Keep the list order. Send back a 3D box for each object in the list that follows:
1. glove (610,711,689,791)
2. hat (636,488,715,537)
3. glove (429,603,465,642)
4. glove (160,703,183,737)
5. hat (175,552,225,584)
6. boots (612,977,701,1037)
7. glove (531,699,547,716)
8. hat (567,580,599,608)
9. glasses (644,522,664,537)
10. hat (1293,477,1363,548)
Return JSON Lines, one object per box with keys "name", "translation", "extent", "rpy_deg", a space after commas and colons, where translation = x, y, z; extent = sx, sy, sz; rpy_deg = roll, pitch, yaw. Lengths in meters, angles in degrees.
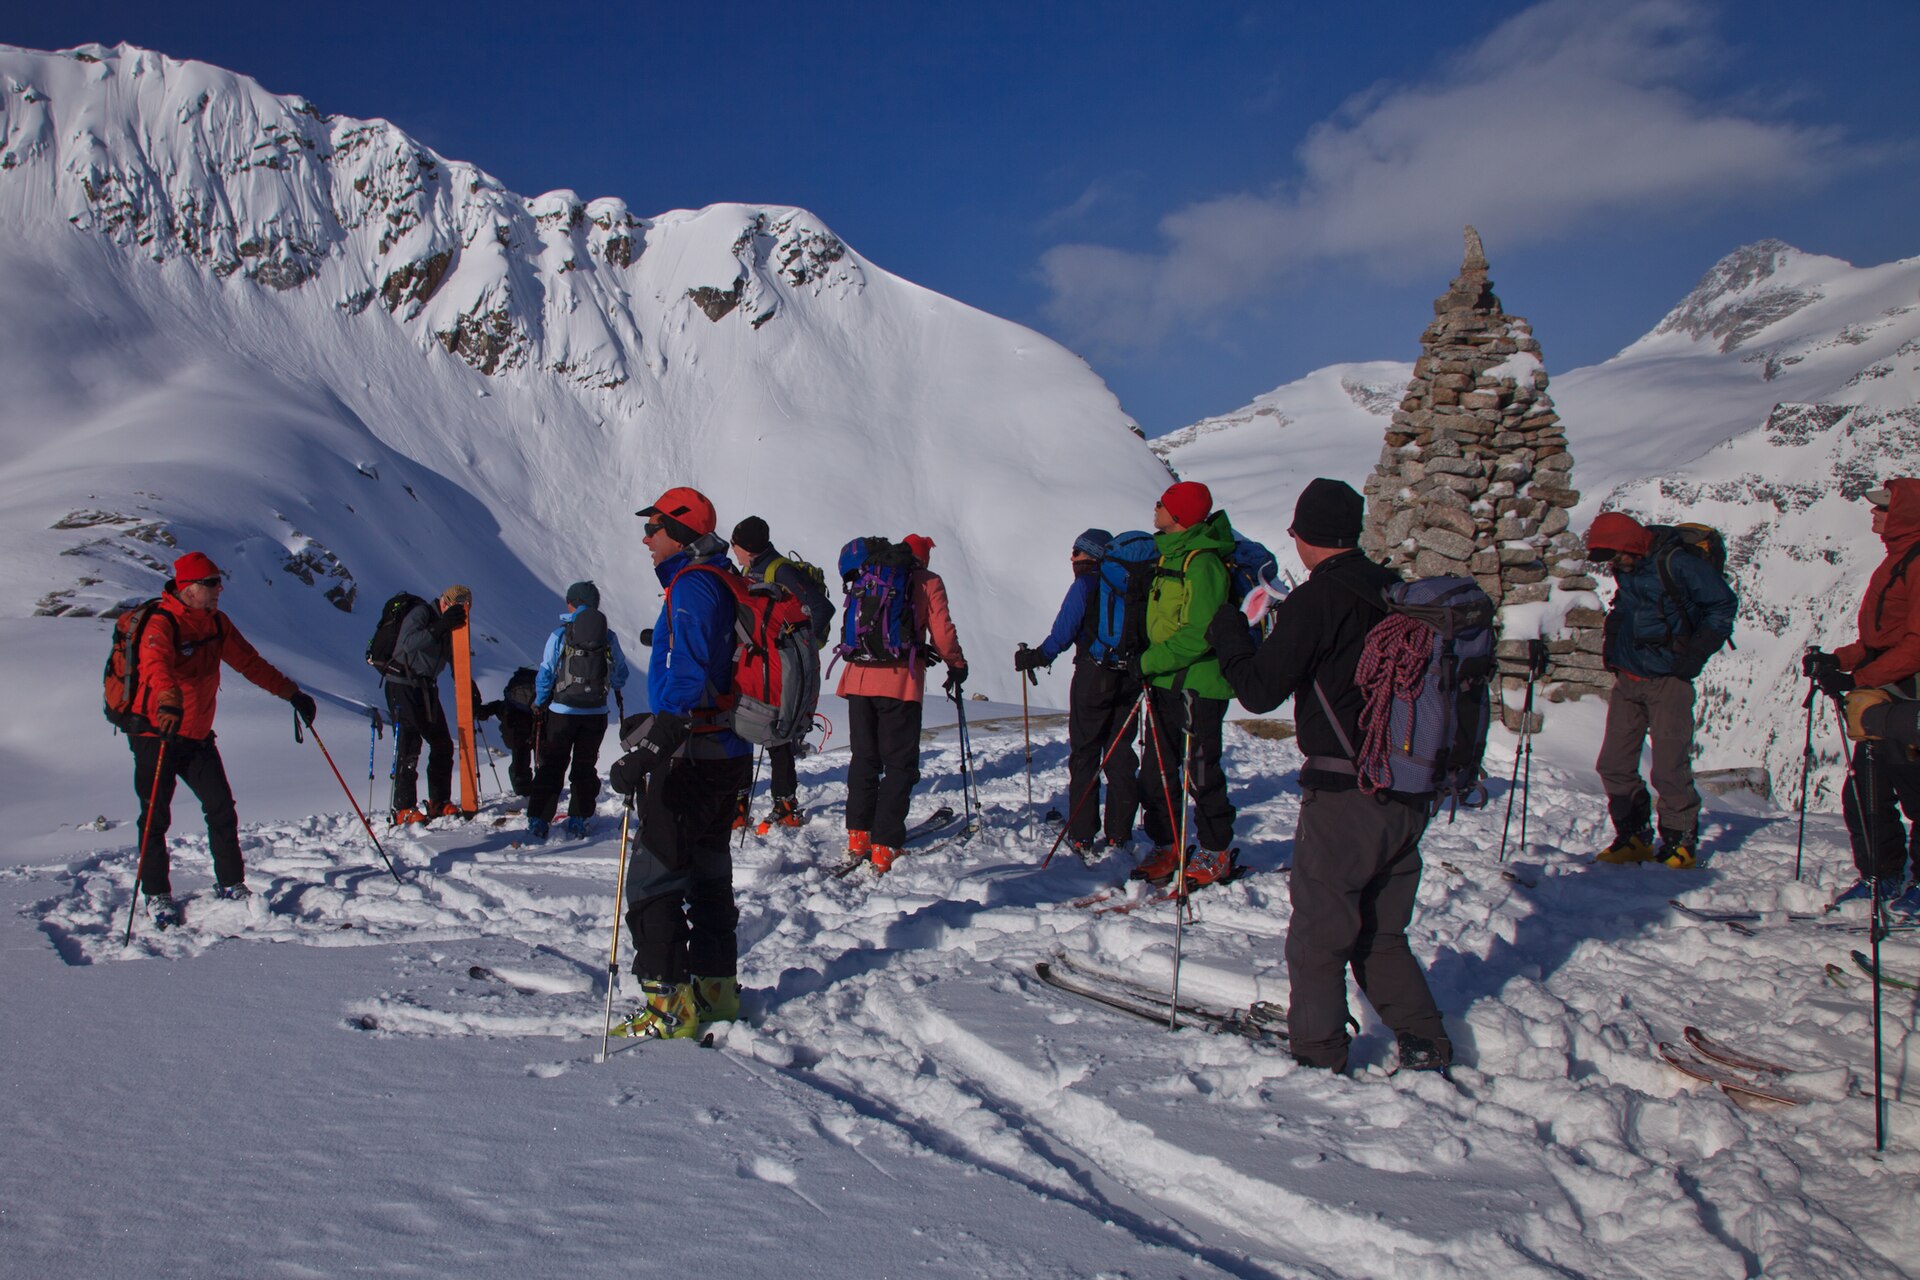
{"name": "glove", "translation": [-3.341, 1.236, 18.572], "extent": [0.664, 0.880, 0.409], "rpy_deg": [38, -3, 43]}
{"name": "hat", "translation": [-3.107, -1.458, 19.017], "extent": [0.737, 0.378, 0.516], "rpy_deg": [17, 6, 0]}
{"name": "glove", "translation": [-7.217, -0.239, 24.138], "extent": [0.331, 0.444, 0.173], "rpy_deg": [5, -11, 9]}
{"name": "glove", "translation": [-9.398, 0.918, 20.388], "extent": [0.243, 0.475, 0.328], "rpy_deg": [0, -1, -25]}
{"name": "hat", "translation": [-9.261, -0.869, 20.789], "extent": [0.538, 0.337, 0.370], "rpy_deg": [2, 4, -4]}
{"name": "boots", "translation": [-3.215, 4.071, 18.593], "extent": [0.583, 0.376, 0.786], "rpy_deg": [18, 36, -2]}
{"name": "glove", "translation": [-5.658, 0.908, 23.066], "extent": [0.140, 0.194, 0.186], "rpy_deg": [5, 4, 3]}
{"name": "hat", "translation": [-5.138, -0.635, 23.156], "extent": [0.392, 0.364, 0.315], "rpy_deg": [20, 0, 22]}
{"name": "glasses", "translation": [-3.406, -1.228, 18.949], "extent": [0.177, 0.091, 0.183], "rpy_deg": [5, 2, -18]}
{"name": "hat", "translation": [4.032, -1.401, 18.704], "extent": [0.770, 0.716, 0.716], "rpy_deg": [6, 12, 10]}
